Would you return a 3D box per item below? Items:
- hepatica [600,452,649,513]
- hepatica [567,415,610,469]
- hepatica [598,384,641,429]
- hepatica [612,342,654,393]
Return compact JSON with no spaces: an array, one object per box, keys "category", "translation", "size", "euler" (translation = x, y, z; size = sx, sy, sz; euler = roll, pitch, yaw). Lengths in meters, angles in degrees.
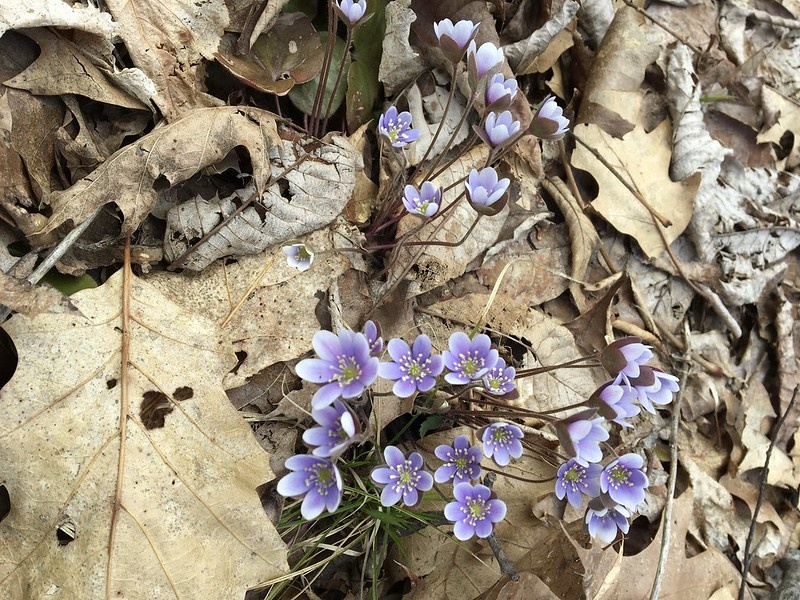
[{"category":"hepatica","translation":[0.794,0.605,2.999],"size":[0.176,0.201,0.100],"euler":[15,109,33]},{"category":"hepatica","translation":[0.681,0.482,2.895],"size":[0.149,0.073,0.169],"euler":[-19,113,-27]},{"category":"hepatica","translation":[0.789,0.356,2.961],"size":[0.159,0.083,0.174],"euler":[-49,120,-35]},{"category":"hepatica","translation":[0.841,0.232,3.016],"size":[0.147,0.076,0.159],"euler":[-31,128,-29]}]
